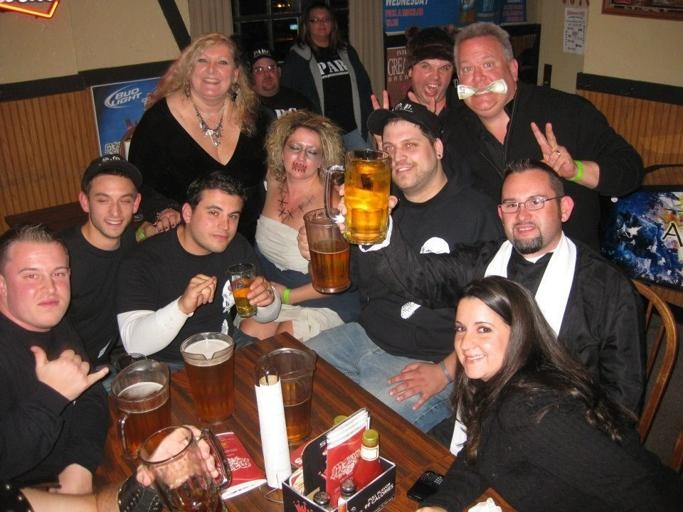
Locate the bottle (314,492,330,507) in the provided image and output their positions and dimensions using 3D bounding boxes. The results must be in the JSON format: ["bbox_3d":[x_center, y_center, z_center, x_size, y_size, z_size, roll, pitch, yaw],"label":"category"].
[{"bbox_3d":[-0.056,0.716,1.557,0.037,0.033,0.036,-1,18,-9],"label":"bottle"}]

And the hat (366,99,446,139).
[{"bbox_3d":[0.334,-0.720,2.819,0.393,0.194,0.197,-1,26,3],"label":"hat"}]

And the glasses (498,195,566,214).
[{"bbox_3d":[0.839,-0.223,2.332,0.248,0.089,0.068,2,26,9],"label":"glasses"}]

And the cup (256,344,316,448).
[{"bbox_3d":[-0.191,0.495,1.813,0.290,0.280,0.206,-2,23,-2],"label":"cup"}]

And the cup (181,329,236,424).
[{"bbox_3d":[-0.503,0.446,2.045,0.195,0.307,0.263,-12,27,-18],"label":"cup"}]

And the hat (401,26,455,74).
[{"bbox_3d":[0.662,-1.514,3.927,0.283,0.319,0.359,14,14,-20],"label":"hat"}]

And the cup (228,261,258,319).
[{"bbox_3d":[-0.470,0.178,2.544,0.117,0.291,0.170,-6,26,-7],"label":"cup"}]

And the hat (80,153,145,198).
[{"bbox_3d":[-1.345,-0.462,3.060,0.240,0.177,0.314,1,-2,-32],"label":"hat"}]
